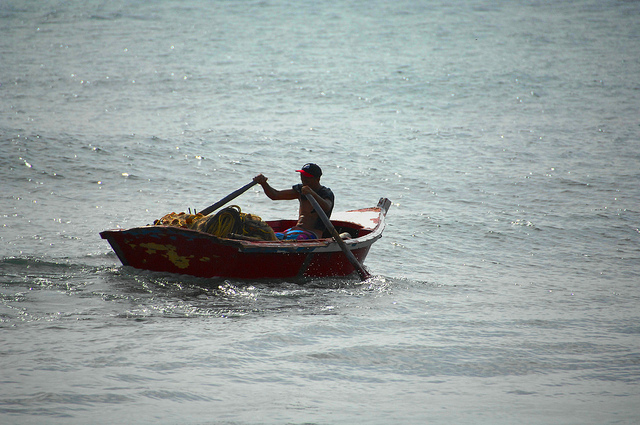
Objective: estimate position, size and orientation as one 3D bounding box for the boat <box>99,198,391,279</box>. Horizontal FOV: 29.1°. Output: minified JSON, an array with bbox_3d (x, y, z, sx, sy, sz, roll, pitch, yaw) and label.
[{"bbox_3d":[-1.685,0.923,40.085,10.223,1.304,2.806,-3,23,-18],"label":"boat"}]
